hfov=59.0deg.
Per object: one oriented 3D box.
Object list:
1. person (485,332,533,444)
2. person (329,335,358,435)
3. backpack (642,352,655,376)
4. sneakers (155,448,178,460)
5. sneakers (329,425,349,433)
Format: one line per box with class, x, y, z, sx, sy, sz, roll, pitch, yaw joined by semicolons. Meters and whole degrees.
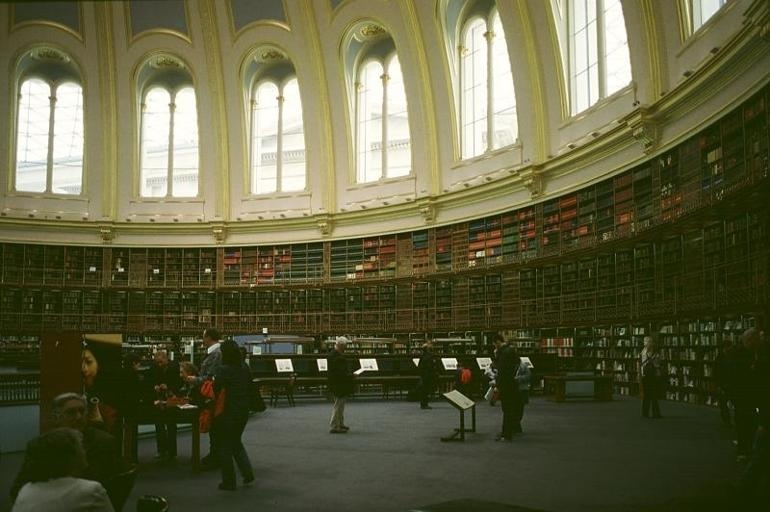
person;2.155;2.280;11.761;0.543;1.714;1.180;-1;3;11
person;-0.839;2.372;12.697;0.452;1.770;1.441;-2;3;-5
backpack;4.964;2.033;12.786;0.197;0.414;0.177;0;4;26
sneakers;-3.427;3.121;10.714;0.364;0.154;0.128;11;-11;-23
sneakers;-0.821;3.082;12.145;0.415;0.159;0.123;0;-3;-4
